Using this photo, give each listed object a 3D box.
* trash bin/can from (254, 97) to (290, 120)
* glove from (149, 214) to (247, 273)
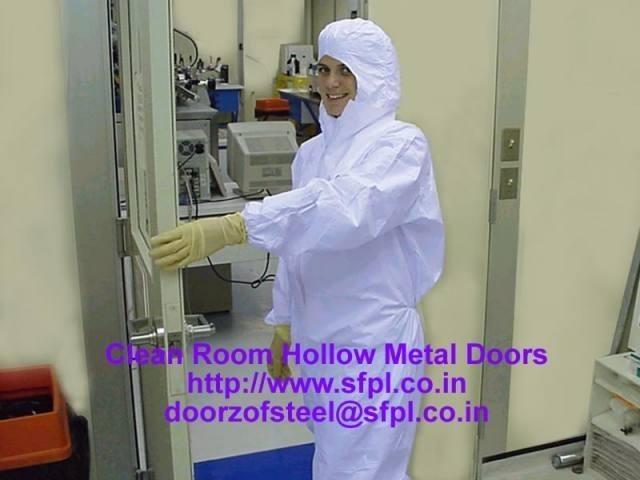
[{"bbox_3d":[-0.501,-1.336,6.041,0.246,0.243,0.268,-8,16,-24],"label":"trash bin/can"},{"bbox_3d":[-0.305,-0.005,1.518,0.108,0.115,0.284,10,18,34],"label":"glove"}]
